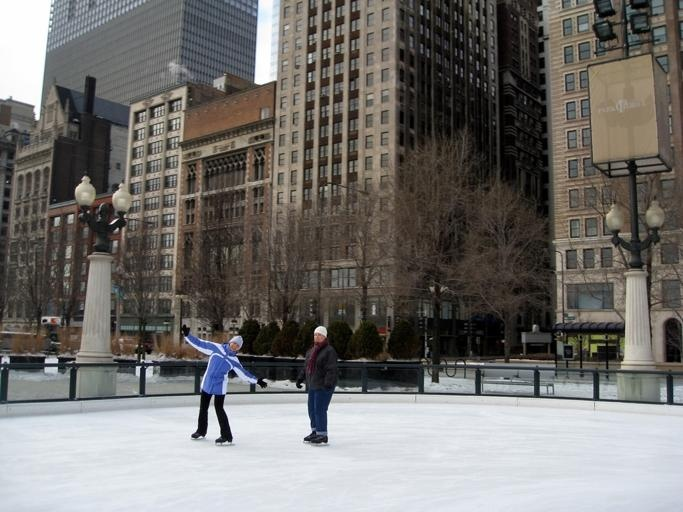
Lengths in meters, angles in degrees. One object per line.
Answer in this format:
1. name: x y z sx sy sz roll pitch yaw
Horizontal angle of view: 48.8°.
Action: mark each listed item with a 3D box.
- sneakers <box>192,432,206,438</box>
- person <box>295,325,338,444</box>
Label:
1. sneakers: -3.753 4.688 19.675 0.308 0.137 0.171 0 -10 28
2. person: -0.547 3.325 19.361 0.526 2.958 0.976 6 -12 -37
